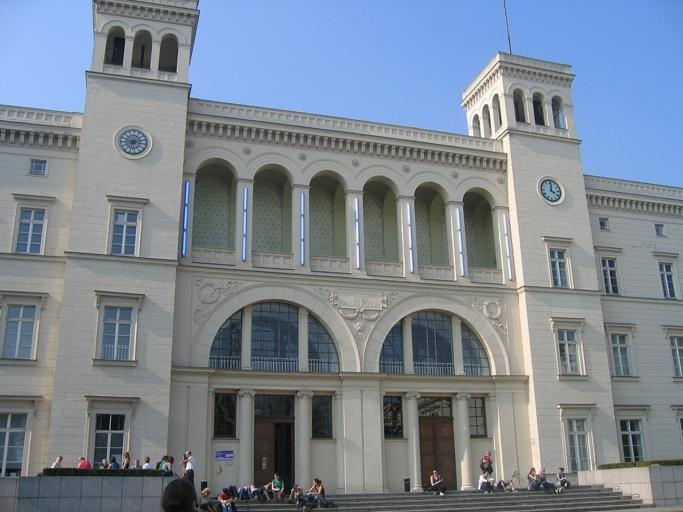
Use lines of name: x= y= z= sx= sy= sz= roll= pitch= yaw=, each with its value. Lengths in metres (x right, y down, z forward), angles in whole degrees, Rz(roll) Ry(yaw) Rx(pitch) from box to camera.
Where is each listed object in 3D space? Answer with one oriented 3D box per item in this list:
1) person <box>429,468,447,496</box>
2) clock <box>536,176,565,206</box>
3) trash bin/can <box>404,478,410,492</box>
person: x=5.396 y=12.892 z=35.768 sx=0.823 sy=1.019 sz=1.729 roll=0 pitch=15 yaw=-2
clock: x=14.240 y=-4.431 z=42.813 sx=1.927 sy=1.997 sz=0.217 roll=6 pitch=-12 yaw=-13
trash bin/can: x=3.736 y=13.022 z=36.049 sx=0.309 sy=0.673 sz=0.506 roll=2 pitch=-12 yaw=6
